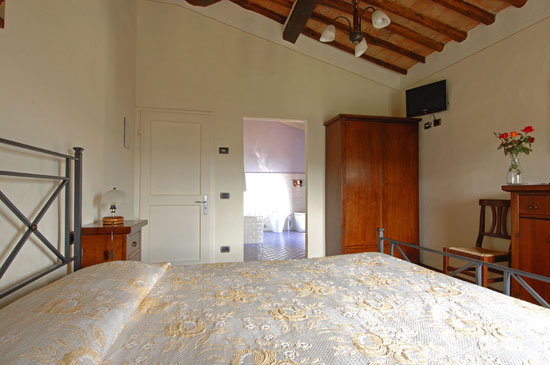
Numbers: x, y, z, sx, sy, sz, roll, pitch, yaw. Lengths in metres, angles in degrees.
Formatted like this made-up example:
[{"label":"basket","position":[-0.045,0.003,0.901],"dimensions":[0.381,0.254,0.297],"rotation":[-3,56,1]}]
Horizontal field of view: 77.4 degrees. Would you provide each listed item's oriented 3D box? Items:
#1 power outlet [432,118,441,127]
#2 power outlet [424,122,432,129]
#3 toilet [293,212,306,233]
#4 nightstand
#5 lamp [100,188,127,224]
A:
[{"label":"power outlet","position":[2.347,-0.863,4.982],"dimensions":[0.088,0.128,0.129],"rotation":[0,0,43]},{"label":"power outlet","position":[2.272,-0.834,5.117],"dimensions":[0.054,0.085,0.120],"rotation":[-2,-3,-17]},{"label":"toilet","position":[0.648,1.087,9.043],"dimensions":[0.561,0.494,0.448],"rotation":[0,-4,9]},{"label":"nightstand","position":[-1.672,0.414,3.650],"dimensions":[0.341,0.835,0.838],"rotation":[0,2,-4]},{"label":"lamp","position":[-1.709,0.249,3.635],"dimensions":[0.235,0.391,0.237],"rotation":[5,6,-9]}]
